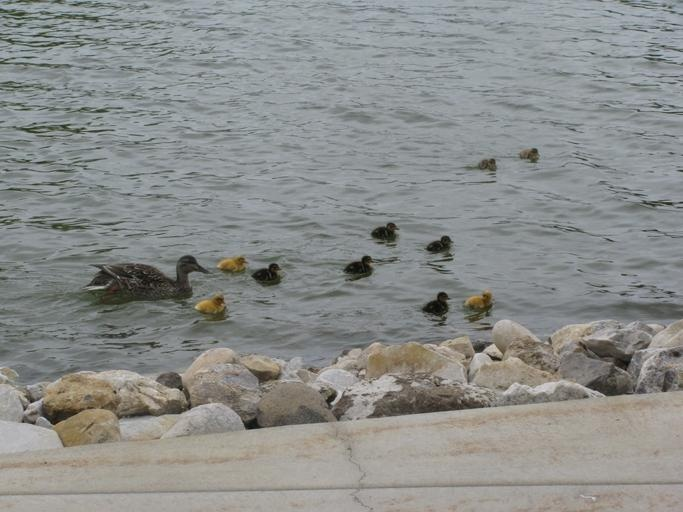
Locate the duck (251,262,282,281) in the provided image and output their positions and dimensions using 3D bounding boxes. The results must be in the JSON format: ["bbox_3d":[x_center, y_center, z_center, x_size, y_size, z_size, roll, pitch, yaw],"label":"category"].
[{"bbox_3d":[-1.507,0.332,26.940,0.583,0.316,0.492,-1,24,-1],"label":"duck"}]

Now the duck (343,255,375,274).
[{"bbox_3d":[0.349,0.183,27.157,0.594,0.280,0.529,0,23,1],"label":"duck"}]

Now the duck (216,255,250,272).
[{"bbox_3d":[-2.209,0.171,27.321,0.673,0.279,0.287,1,48,1],"label":"duck"}]

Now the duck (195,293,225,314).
[{"bbox_3d":[-2.496,0.956,25.875,0.711,0.274,0.343,0,23,-3],"label":"duck"}]

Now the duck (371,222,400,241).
[{"bbox_3d":[0.940,-0.503,28.589,0.702,0.282,0.351,-2,28,-12],"label":"duck"}]

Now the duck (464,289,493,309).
[{"bbox_3d":[2.714,0.891,26.095,0.694,0.217,0.350,-4,-11,10],"label":"duck"}]

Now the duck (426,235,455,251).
[{"bbox_3d":[2.104,-0.244,28.102,0.645,0.300,0.407,-6,25,-11],"label":"duck"}]
